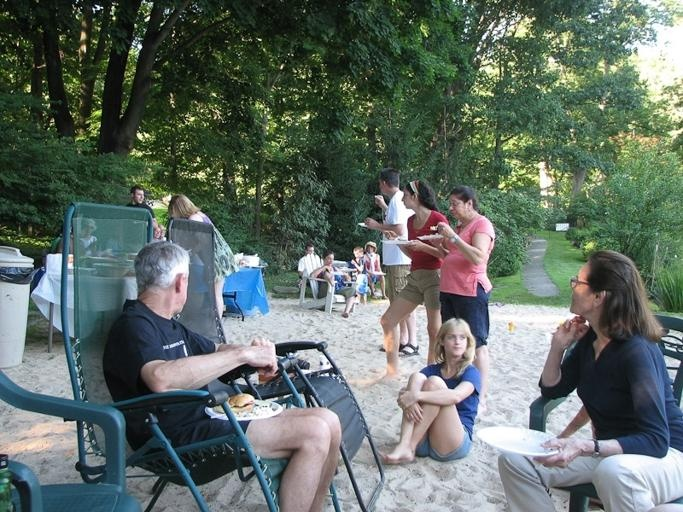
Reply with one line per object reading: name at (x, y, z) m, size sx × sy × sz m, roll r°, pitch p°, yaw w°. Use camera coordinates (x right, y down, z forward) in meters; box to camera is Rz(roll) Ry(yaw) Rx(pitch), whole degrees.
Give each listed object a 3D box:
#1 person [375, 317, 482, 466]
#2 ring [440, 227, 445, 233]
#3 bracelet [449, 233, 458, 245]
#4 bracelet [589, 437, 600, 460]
person at (0.736, 1.025, 4.550) m, size 0.515 × 1.100 × 0.652 m, roll 3°, pitch 0°, yaw 29°
ring at (0.854, -0.226, 5.056) m, size 0.024 × 0.045 × 0.039 m, roll -2°, pitch -6°, yaw -6°
bracelet at (0.953, -0.135, 5.059) m, size 0.018 × 0.072 × 0.068 m, roll 6°, pitch 28°, yaw -34°
bracelet at (1.394, 1.057, 3.276) m, size 0.039 × 0.104 × 0.048 m, roll 3°, pitch 0°, yaw 16°
